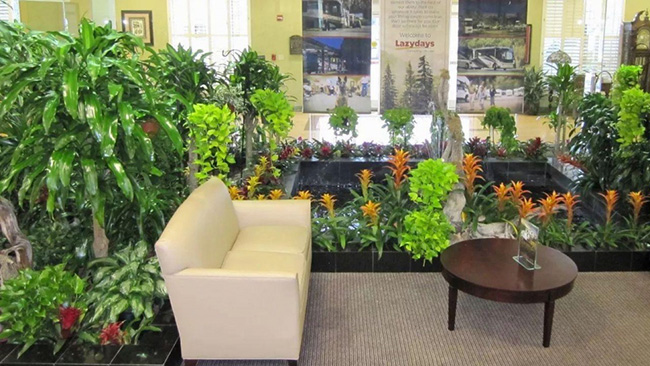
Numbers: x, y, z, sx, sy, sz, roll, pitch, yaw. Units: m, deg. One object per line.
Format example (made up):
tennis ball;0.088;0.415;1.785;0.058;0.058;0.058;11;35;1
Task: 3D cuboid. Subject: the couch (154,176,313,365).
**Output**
couch;-0.823;0.829;4.587;1.263;1.594;1.238;0;13;4

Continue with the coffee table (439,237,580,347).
coffee table;1.879;1.118;4.893;1.338;0.673;1.331;-5;16;-14
